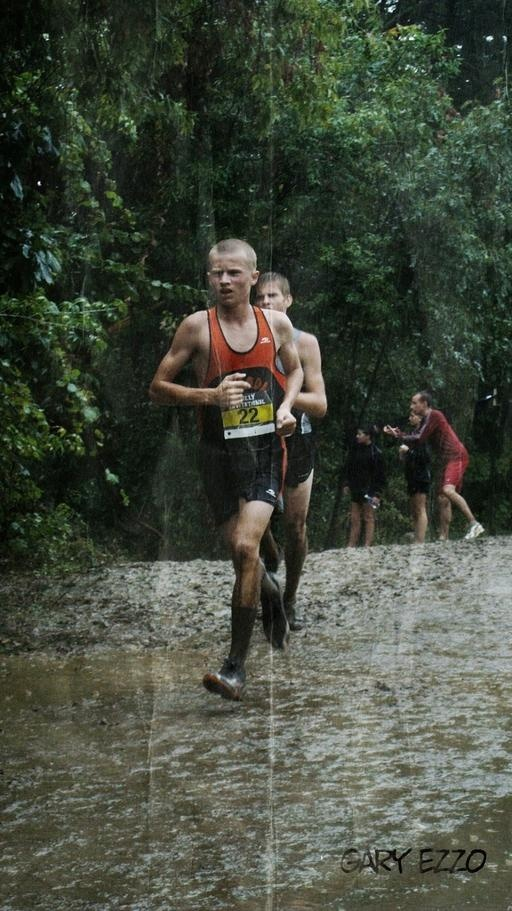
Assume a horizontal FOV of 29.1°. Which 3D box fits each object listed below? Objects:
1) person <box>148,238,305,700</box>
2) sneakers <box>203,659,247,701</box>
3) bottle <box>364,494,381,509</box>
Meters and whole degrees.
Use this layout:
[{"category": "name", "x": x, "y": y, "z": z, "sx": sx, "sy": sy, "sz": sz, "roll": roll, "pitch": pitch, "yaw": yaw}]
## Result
[{"category": "person", "x": -0.091, "y": -0.002, "z": 2.567, "sx": 0.377, "sy": 1.096, "sz": 0.667, "roll": 3, "pitch": 9, "yaw": 5}, {"category": "sneakers", "x": -0.074, "y": 0.556, "z": 2.386, "sx": 0.086, "sy": 0.115, "sz": 0.144, "roll": 4, "pitch": 10, "yaw": 7}, {"category": "bottle", "x": 0.313, "y": 0.123, "z": 2.618, "sx": 0.043, "sy": 0.032, "sz": 0.043, "roll": 6, "pitch": 0, "yaw": 0}]
